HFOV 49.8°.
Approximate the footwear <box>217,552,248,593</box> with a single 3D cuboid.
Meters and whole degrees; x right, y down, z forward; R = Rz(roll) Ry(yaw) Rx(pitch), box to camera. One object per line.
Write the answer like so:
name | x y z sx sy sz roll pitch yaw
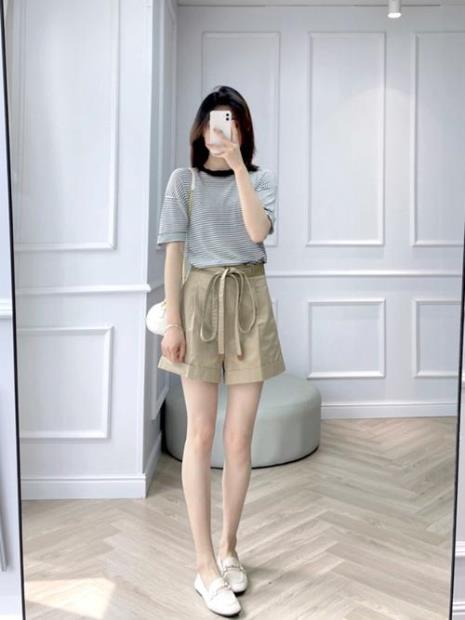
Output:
footwear | 0.002 0.669 1.282 0.039 0.041 0.101 0 1 -11
